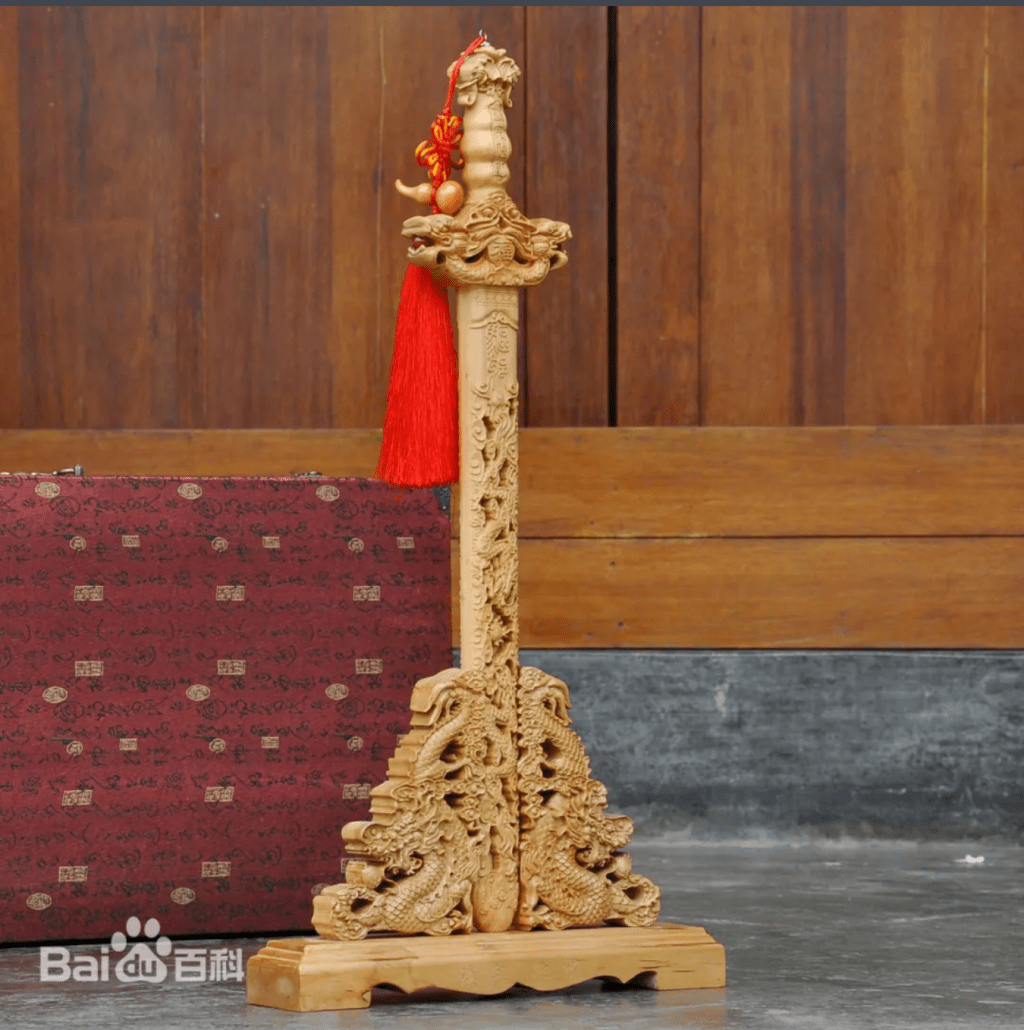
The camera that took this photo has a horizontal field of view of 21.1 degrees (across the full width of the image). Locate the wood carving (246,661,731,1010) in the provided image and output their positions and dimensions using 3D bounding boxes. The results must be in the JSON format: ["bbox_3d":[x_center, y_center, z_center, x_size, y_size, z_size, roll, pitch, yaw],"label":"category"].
[{"bbox_3d":[-0.059,0.659,5.424,0.899,0.666,0.810,-6,9,-28],"label":"wood carving"}]

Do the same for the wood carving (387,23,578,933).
[{"bbox_3d":[-0.047,-0.020,5.506,0.697,1.918,0.168,1,-10,-6],"label":"wood carving"}]

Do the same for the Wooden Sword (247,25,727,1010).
[{"bbox_3d":[-0.064,-0.072,5.646,0.857,1.983,0.929,0,0,-5],"label":"Wooden Sword"}]

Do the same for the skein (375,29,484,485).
[{"bbox_3d":[-0.183,-0.506,5.521,0.208,0.906,0.200,-12,15,-35],"label":"skein"}]
